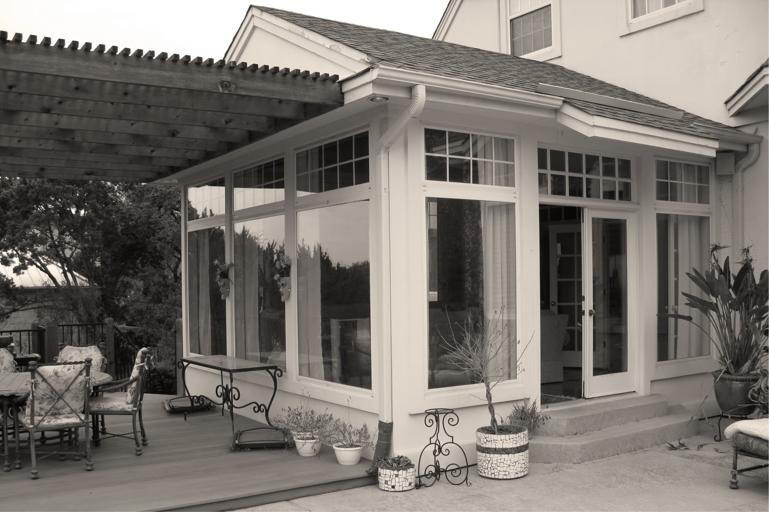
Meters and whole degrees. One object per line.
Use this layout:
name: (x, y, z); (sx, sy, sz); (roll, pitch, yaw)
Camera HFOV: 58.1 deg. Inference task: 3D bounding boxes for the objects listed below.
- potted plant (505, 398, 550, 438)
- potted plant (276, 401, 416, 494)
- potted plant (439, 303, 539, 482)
potted plant: (1.909, 2.110, 9.123); (0.487, 0.506, 0.498); (0, -1, -27)
potted plant: (-0.599, 2.367, 9.066); (2.040, 0.853, 0.656); (14, 8, 42)
potted plant: (1.480, 1.691, 8.803); (1.293, 1.912, 1.107); (-3, 10, -14)
